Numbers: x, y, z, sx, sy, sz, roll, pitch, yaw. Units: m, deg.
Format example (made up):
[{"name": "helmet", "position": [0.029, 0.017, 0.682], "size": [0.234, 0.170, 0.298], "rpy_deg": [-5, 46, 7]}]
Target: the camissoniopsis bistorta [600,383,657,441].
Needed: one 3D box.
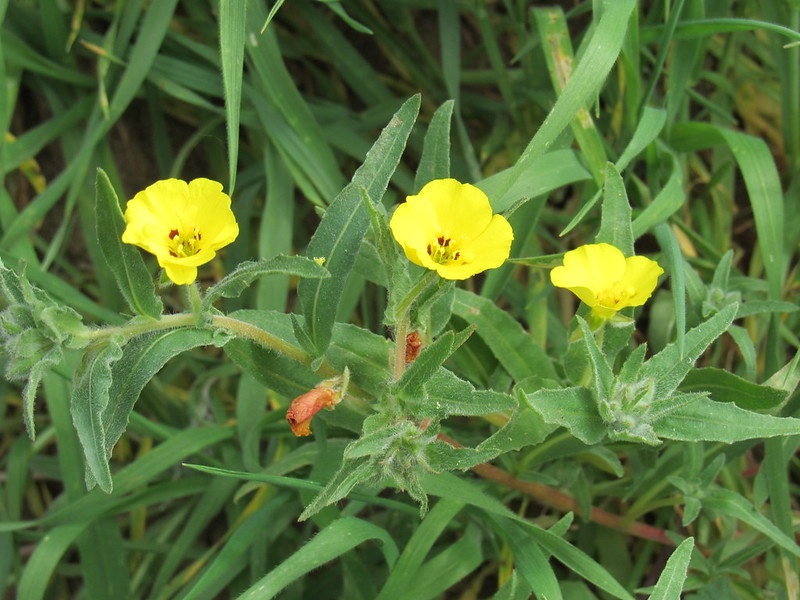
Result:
[{"name": "camissoniopsis bistorta", "position": [0.510, 0.253, 1.738], "size": [0.102, 0.086, 0.150], "rpy_deg": [1, 87, 14]}]

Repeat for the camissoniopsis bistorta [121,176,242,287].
[{"name": "camissoniopsis bistorta", "position": [-0.485, -0.160, 1.758], "size": [0.254, 0.289, 0.145], "rpy_deg": [-6, 69, -4]}]
